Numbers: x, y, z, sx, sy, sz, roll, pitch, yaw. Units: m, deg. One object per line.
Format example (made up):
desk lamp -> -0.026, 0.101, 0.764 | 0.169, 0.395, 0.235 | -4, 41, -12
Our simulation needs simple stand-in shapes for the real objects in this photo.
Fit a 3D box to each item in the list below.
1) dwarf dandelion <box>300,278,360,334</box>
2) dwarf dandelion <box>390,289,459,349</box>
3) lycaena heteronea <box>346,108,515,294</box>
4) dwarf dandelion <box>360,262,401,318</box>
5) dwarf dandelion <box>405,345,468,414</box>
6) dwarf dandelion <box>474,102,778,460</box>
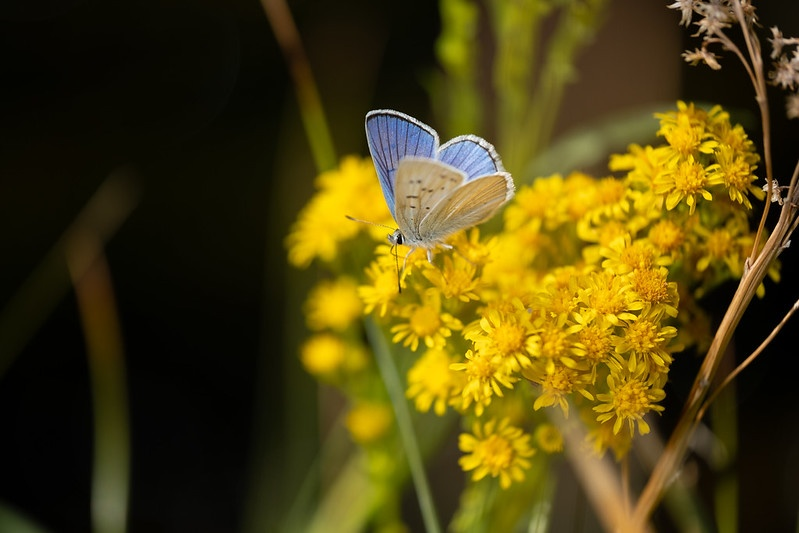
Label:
dwarf dandelion -> -0.094, 0.055, 1.064 | 0.086, 0.079, 0.015 | 2, -19, 18
dwarf dandelion -> 0.037, 0.079, 0.997 | 0.099, 0.075, 0.048 | 5, -19, 10
lycaena heteronea -> 0.060, -0.100, 1.119 | 0.217, 0.187, 0.238 | -28, 13, 2
dwarf dandelion -> -0.025, 0.031, 1.004 | 0.016, 0.064, 0.066 | 6, -61, -28
dwarf dandelion -> 0.048, 0.155, 1.004 | 0.070, 0.078, 0.037 | 0, -20, 23
dwarf dandelion -> 0.369, -0.030, 1.100 | 0.340, 0.513, 0.230 | -15, -27, 20
